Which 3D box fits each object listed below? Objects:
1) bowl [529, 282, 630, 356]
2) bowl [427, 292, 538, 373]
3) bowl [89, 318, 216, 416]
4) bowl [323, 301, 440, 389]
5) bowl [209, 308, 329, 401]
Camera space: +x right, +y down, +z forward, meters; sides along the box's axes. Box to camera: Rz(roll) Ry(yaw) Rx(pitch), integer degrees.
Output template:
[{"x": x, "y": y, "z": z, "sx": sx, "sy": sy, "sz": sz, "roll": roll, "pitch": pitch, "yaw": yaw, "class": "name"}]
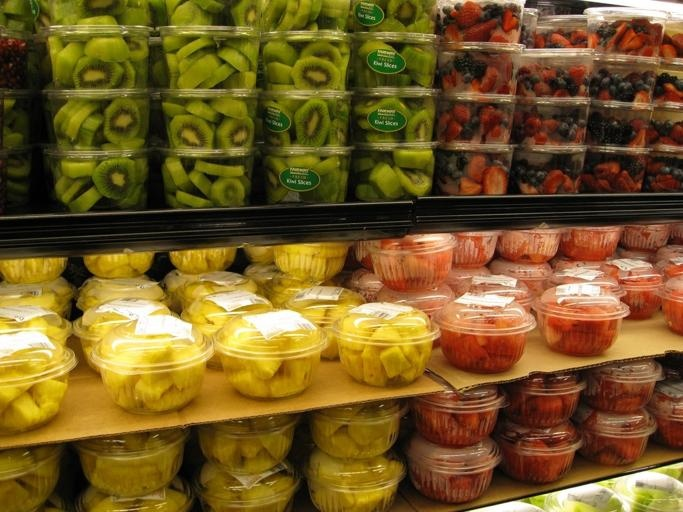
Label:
[{"x": 0.841, "y": 0.242, "z": 1.880, "sx": 0.325, "sy": 0.162, "sz": 0.296, "roll": 1, "pitch": -2, "yaw": 0, "class": "bowl"}, {"x": 0.503, "y": 0.231, "z": 1.767, "sx": 0.324, "sy": 0.162, "sz": 0.302, "roll": -1, "pitch": 12, "yaw": 0, "class": "bowl"}, {"x": -0.497, "y": 0.285, "z": 1.518, "sx": 0.366, "sy": 0.179, "sz": 0.279, "roll": 2, "pitch": 17, "yaw": 0, "class": "bowl"}, {"x": 0.128, "y": 0.239, "z": 1.633, "sx": 0.320, "sy": 0.154, "sz": 0.305, "roll": 0, "pitch": 14, "yaw": 0, "class": "bowl"}, {"x": -0.208, "y": 0.271, "z": 1.470, "sx": 0.343, "sy": 0.149, "sz": 0.274, "roll": -1, "pitch": 10, "yaw": -6, "class": "bowl"}]
